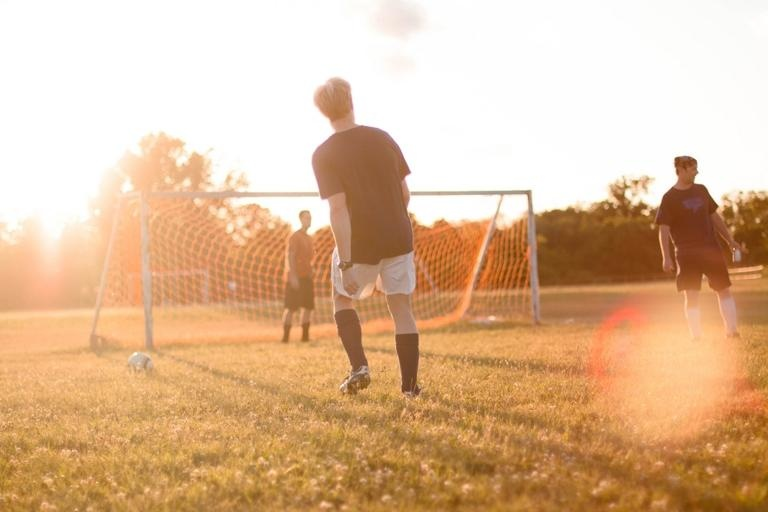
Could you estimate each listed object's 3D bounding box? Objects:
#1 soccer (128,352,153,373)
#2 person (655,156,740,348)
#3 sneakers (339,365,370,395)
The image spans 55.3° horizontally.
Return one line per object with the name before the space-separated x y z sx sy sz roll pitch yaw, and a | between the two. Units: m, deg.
soccer | -3.996 1.756 11.989 0.272 0.322 0.376 12 -5 -20
person | 5.253 -0.153 12.320 1.279 3.039 0.700 0 -4 -9
sneakers | -0.403 1.780 10.277 0.579 0.280 0.214 -43 -48 21
